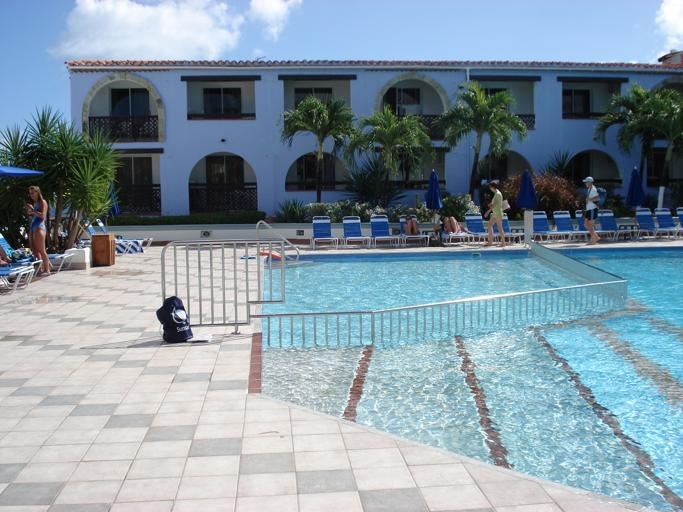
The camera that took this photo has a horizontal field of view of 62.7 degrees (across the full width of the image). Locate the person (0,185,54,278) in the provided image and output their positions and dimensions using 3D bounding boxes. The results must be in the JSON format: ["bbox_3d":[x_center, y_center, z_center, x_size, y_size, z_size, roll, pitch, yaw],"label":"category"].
[{"bbox_3d":[-6.923,-0.587,12.782,0.407,2.034,1.370,-4,7,-27],"label":"person"}]

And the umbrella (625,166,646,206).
[{"bbox_3d":[10.365,-2.406,19.757,0.560,1.402,1.058,3,7,27],"label":"umbrella"}]

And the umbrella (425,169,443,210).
[{"bbox_3d":[3.033,-2.191,18.627,0.456,1.282,0.991,0,7,8],"label":"umbrella"}]

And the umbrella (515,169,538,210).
[{"bbox_3d":[6.041,-2.142,18.258,0.595,1.330,2.147,1,7,17],"label":"umbrella"}]

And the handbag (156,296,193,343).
[{"bbox_3d":[-2.194,0.829,7.358,0.435,0.592,0.267,-3,7,-18],"label":"handbag"}]
